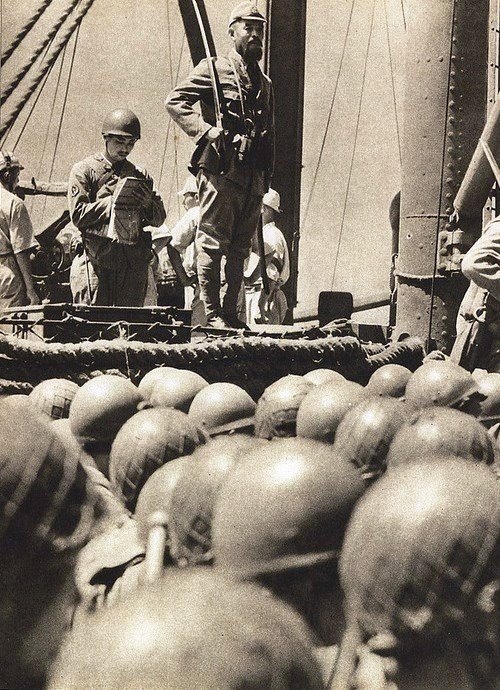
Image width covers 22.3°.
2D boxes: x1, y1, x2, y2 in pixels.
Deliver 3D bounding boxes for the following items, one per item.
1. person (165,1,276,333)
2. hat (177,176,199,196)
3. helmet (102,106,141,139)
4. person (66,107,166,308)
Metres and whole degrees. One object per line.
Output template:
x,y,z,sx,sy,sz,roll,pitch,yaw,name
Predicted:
-0.156,-0.918,6.458,0.558,1.602,0.329,3,7,-6,person
-0.334,-0.830,6.697,0.089,0.069,0.078,-9,13,6,hat
-0.636,-1.088,6.216,0.175,0.196,0.239,2,15,-6,helmet
-0.675,-0.477,6.466,0.332,1.408,0.349,-2,7,-20,person
